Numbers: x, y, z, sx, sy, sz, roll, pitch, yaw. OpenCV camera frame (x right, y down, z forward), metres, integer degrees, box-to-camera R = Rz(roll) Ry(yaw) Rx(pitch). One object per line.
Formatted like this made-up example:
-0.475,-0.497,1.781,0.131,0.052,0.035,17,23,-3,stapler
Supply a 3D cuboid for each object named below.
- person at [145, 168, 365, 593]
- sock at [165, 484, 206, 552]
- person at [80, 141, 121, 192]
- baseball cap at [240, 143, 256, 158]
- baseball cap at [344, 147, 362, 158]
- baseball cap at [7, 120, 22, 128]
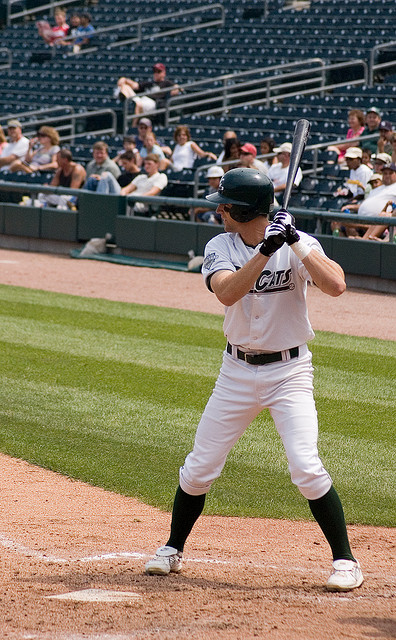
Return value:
0.261,0.202,3.442,0.713,1.064,0.460,5,2,31,person
-0.052,0.742,3.580,0.130,0.168,0.111,4,2,-2,sock
-1.323,-1.925,12.543,0.491,0.734,0.484,9,8,19,person
0.641,-2.063,11.659,0.208,0.099,0.119,23,2,-29,baseball cap
1.860,-2.019,11.552,0.195,0.165,0.293,4,1,0,baseball cap
-2.679,-2.854,13.977,0.155,0.148,0.302,3,0,-15,baseball cap
